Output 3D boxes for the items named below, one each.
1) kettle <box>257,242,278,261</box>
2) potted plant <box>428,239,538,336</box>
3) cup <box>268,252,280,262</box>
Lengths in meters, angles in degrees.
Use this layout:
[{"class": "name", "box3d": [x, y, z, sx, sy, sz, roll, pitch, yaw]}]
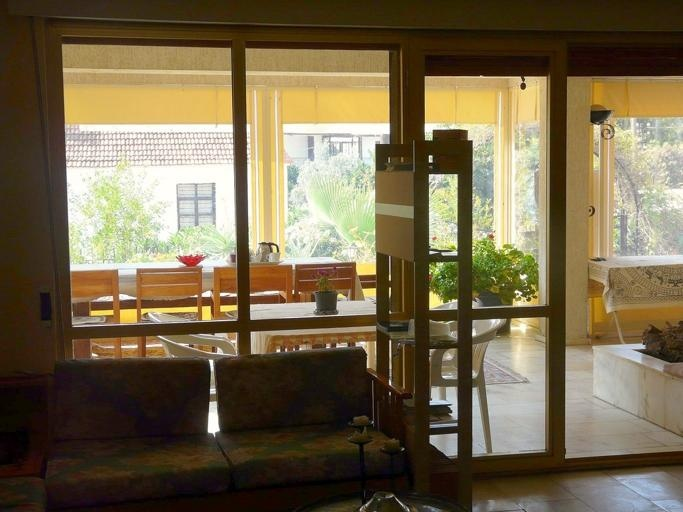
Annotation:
[{"class": "kettle", "box3d": [-0.481, -0.032, 4.182, 0.148, 0.142, 0.092, 1, -2, -26]}, {"class": "potted plant", "box3d": [0.989, 0.170, 4.492, 0.652, 0.465, 0.641, -1, 5, -9]}, {"class": "cup", "box3d": [-0.440, 0.015, 4.202, 0.065, 0.045, 0.041, -1, 3, 5]}]
